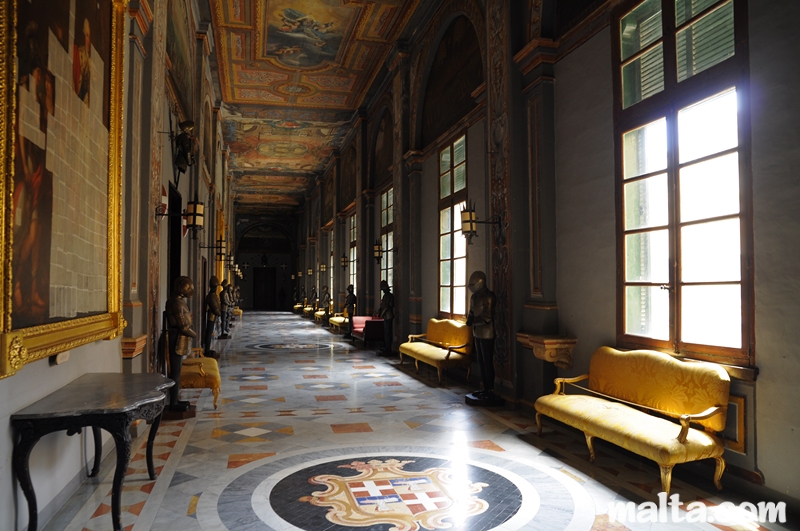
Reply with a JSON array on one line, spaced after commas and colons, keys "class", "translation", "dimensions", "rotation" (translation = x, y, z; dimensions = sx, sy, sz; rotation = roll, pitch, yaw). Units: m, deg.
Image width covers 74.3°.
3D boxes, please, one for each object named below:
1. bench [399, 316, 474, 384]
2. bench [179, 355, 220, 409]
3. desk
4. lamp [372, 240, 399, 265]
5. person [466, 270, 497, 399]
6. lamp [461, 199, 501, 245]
[{"class": "bench", "translation": [0.720, 1.700, 10.885], "dimensions": [1.063, 1.096, 2.106], "rotation": [0, 0, -8]}, {"class": "bench", "translation": [-3.249, 1.731, 8.510], "dimensions": [0.624, 0.523, 1.225], "rotation": [0, -1, -17]}, {"class": "desk", "translation": [-2.723, 1.872, 4.861], "dimensions": [1.078, 1.044, 1.731], "rotation": [1, -3, -11]}, {"class": "lamp", "translation": [-0.676, -0.440, 16.763], "dimensions": [0.939, 0.860, 0.540], "rotation": [2, -3, -23]}, {"class": "person", "translation": [1.342, 1.168, 8.743], "dimensions": [0.492, 2.138, 0.410], "rotation": [0, 1, 9]}, {"class": "lamp", "translation": [1.455, -0.834, 9.774], "dimensions": [0.650, 0.844, 1.572], "rotation": [0, 0, 5]}]
